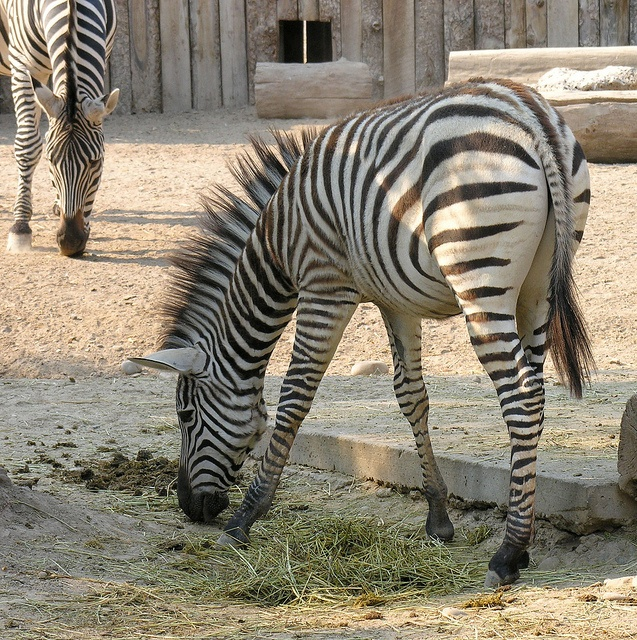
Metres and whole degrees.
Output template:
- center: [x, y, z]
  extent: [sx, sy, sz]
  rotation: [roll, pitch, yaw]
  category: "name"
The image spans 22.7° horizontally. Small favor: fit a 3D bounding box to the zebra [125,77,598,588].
- center: [0.214, 0.039, 7.954]
  extent: [0.822, 2.225, 3.061]
  rotation: [-3, -2, -41]
  category: "zebra"
